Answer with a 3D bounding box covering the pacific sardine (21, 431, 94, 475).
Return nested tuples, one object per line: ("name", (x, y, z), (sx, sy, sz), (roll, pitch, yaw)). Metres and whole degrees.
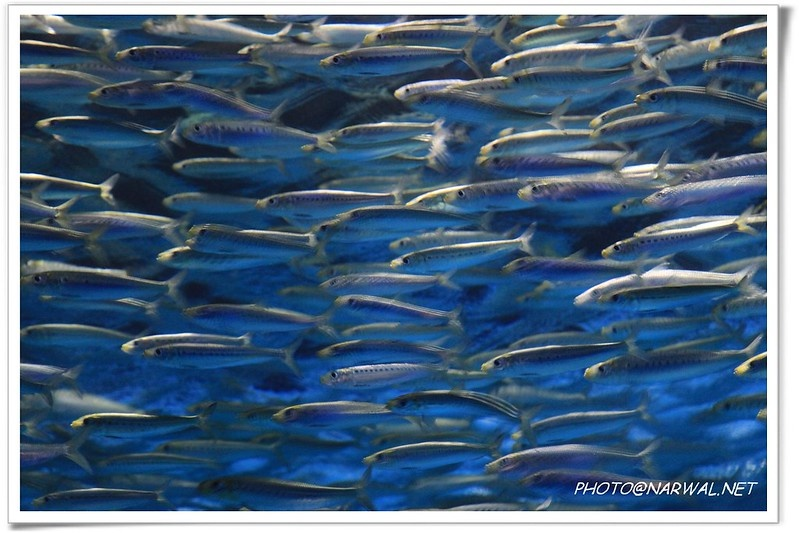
("pacific sardine", (-2.795, 1.453, 7.273), (1.110, 0.251, 0.199), (-11, -13, 33))
